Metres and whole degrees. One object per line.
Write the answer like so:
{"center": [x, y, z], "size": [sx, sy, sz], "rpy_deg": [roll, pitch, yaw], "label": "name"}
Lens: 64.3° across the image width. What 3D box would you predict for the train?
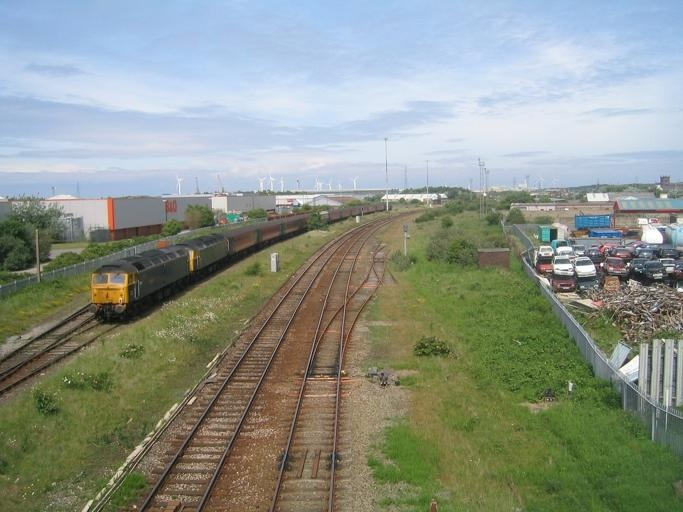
{"center": [-5.025, -2.006, 53.370], "size": [3.938, 2.493, 52.596], "rpy_deg": [5, 12, 18], "label": "train"}
